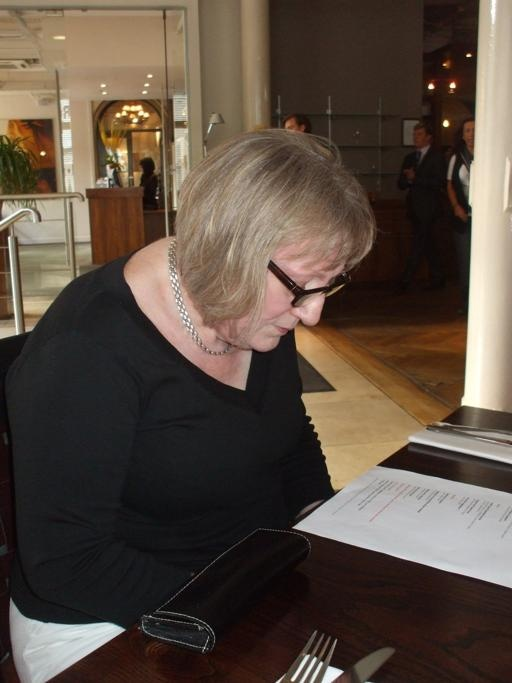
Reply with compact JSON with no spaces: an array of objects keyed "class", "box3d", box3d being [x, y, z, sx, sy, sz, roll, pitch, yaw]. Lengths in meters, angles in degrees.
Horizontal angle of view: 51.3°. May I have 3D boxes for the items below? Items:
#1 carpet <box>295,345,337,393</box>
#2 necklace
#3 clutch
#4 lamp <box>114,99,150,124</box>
[{"class":"carpet","box3d":[0.409,0.162,3.690,0.189,0.007,0.558,4,22,-11]},{"class":"necklace","box3d":[-0.098,-0.063,0.822,0.008,0.152,0.120,-15,-8,27]},{"class":"clutch","box3d":[-0.030,0.212,0.489,0.060,0.028,0.163,8,14,19]},{"class":"lamp","box3d":[-2.601,-4.864,11.184,0.670,0.525,0.647,5,12,7]}]
